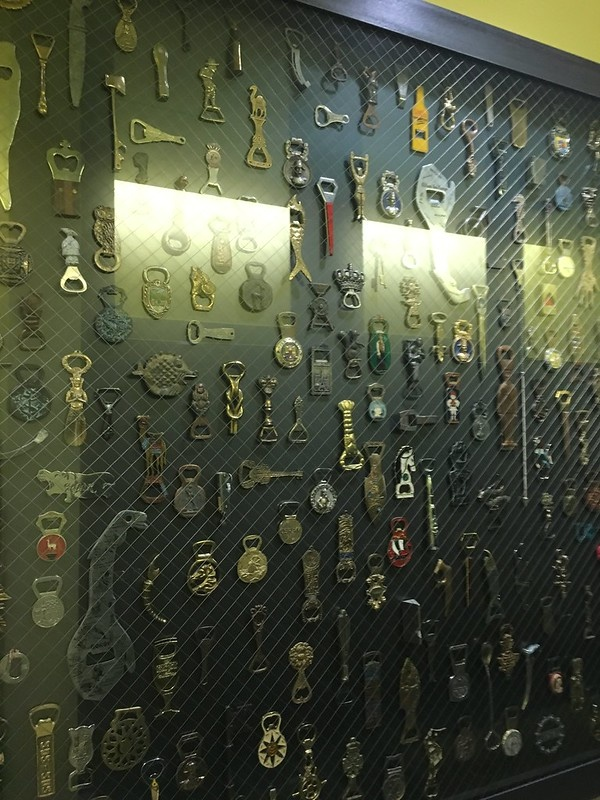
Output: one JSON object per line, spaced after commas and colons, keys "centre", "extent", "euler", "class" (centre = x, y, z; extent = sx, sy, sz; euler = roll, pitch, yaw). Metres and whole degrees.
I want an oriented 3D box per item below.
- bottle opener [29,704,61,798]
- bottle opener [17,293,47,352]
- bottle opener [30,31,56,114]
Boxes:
{"centre": [-0.685, 0.945, 2.750], "extent": [0.076, 0.246, 0.036], "euler": [0, 3, -12], "class": "bottle opener"}
{"centre": [-0.742, -0.229, 2.820], "extent": [0.079, 0.022, 0.153], "euler": [-10, -30, -25], "class": "bottle opener"}
{"centre": [-0.710, -0.900, 2.838], "extent": [0.064, 0.229, 0.029], "euler": [0, 3, -15], "class": "bottle opener"}
